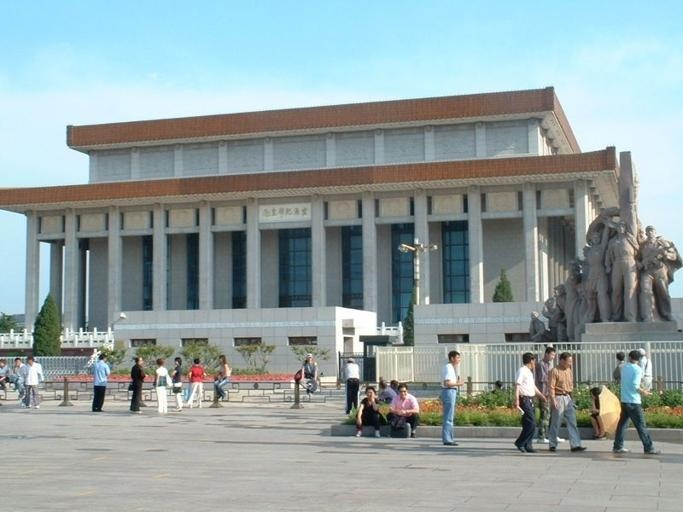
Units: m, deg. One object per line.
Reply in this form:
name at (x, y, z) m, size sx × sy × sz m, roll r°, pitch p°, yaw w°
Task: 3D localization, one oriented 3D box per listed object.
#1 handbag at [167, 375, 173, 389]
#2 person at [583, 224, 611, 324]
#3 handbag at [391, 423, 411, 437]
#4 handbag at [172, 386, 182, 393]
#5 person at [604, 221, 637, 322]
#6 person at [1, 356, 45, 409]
handbag at (-6.368, 4.751, 49.987) m, size 0.140 × 0.411 × 0.303 m, roll 2°, pitch 0°, yaw -30°
person at (9.857, 0.597, 51.477) m, size 0.922 × 3.954 × 1.435 m, roll 10°, pitch -15°, yaw -31°
handbag at (1.848, 5.463, 41.676) m, size 0.719 × 0.382 × 0.481 m, roll -2°, pitch -10°, yaw 6°
handbag at (-6.184, 5.069, 50.696) m, size 0.241 × 0.249 × 0.539 m, roll 1°, pitch -9°, yaw -16°
person at (10.671, 0.582, 50.656) m, size 1.160 × 3.920 × 0.514 m, roll -9°, pitch -12°, yaw 42°
person at (-12.424, 5.026, 52.487) m, size 1.221 × 3.329 × 1.334 m, roll 1°, pitch -3°, yaw -17°
